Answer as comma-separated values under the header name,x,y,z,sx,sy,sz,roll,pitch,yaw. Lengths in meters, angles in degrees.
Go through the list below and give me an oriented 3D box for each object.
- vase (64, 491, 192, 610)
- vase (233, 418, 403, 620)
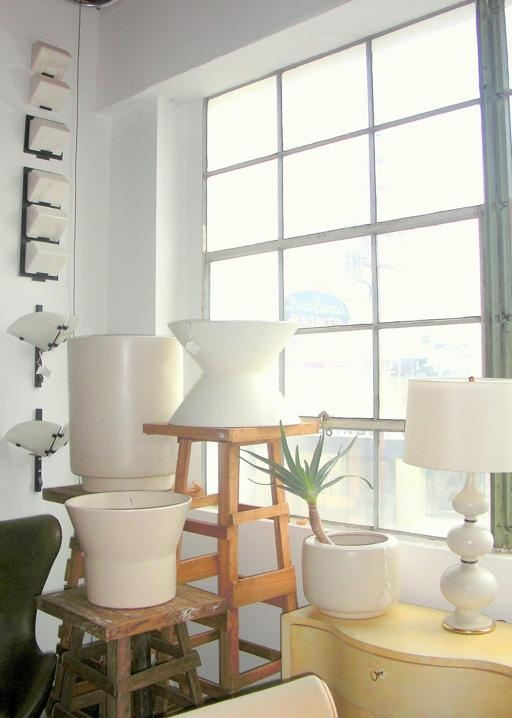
name,x,y,z,sx,sy,sz,roll,pitch,yaw
vase,-0.288,0.431,1.388,0.286,0.224,0.287,0,-2,-8
vase,0.158,0.404,1.495,0.375,0.410,0.224,-4,-8,15
